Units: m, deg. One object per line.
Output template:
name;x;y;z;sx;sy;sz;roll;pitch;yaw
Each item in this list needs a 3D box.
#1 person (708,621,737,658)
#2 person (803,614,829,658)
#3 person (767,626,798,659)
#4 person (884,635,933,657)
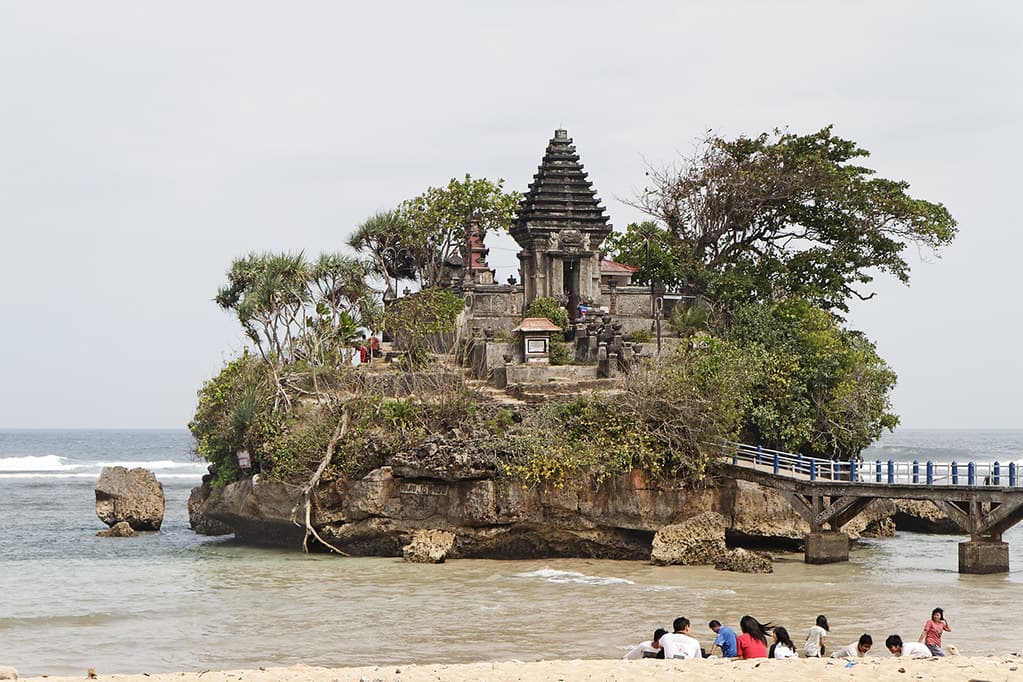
person;7.470;10.673;73.997;0.863;1.371;0.478;-28;15;-31
person;10.808;10.488;73.985;0.747;1.501;2.060;-1;-9;9
person;9.492;10.646;72.841;0.996;1.106;1.050;-5;16;-6
person;13.909;10.828;73.109;1.238;0.537;0.891;10;1;-2
